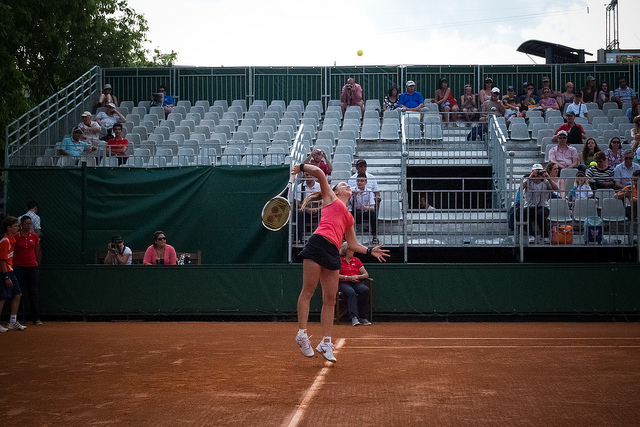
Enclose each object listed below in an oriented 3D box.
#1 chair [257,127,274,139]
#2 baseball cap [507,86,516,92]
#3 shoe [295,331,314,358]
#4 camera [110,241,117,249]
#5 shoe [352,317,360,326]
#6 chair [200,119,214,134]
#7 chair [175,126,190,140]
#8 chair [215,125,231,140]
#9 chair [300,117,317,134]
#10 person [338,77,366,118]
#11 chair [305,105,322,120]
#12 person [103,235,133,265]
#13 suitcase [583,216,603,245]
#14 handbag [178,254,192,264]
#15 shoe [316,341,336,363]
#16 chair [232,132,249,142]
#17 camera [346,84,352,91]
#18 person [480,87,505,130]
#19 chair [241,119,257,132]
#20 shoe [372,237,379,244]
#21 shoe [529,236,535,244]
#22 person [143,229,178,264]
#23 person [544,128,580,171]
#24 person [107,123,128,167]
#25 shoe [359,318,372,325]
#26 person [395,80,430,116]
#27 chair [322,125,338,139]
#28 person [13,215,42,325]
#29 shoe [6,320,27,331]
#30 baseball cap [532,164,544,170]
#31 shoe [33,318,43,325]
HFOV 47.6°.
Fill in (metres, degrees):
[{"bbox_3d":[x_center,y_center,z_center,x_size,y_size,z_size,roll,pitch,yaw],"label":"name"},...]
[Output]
[{"bbox_3d":[-1.717,-2.502,22.777,0.525,0.359,0.393,2,15,7],"label":"chair"},{"bbox_3d":[6.629,-4.369,25.067,0.316,0.084,0.324,0,-9,43],"label":"baseball cap"},{"bbox_3d":[-0.238,2.255,12.339,0.183,0.504,0.202,-17,-22,-32],"label":"shoe"},{"bbox_3d":[-5.111,0.771,17.868,0.182,0.193,0.051,2,7,26],"label":"camera"},{"bbox_3d":[0.819,2.485,16.656,0.189,0.172,0.172,-1,6,-11],"label":"shoe"},{"bbox_3d":[-3.695,-2.826,23.596,0.570,0.426,0.420,0,-7,-1],"label":"chair"},{"bbox_3d":[-4.355,-2.599,22.831,0.479,0.469,0.422,0,-1,5],"label":"chair"},{"bbox_3d":[-3.053,-2.536,22.849,0.521,0.507,0.471,1,-7,0],"label":"chair"},{"bbox_3d":[-0.379,-2.814,22.934,0.483,0.310,0.486,1,0,2],"label":"chair"},{"bbox_3d":[1.059,-3.789,23.917,0.835,1.283,0.800,1,11,18],"label":"person"},{"bbox_3d":[-0.232,-3.539,24.305,0.662,0.466,0.526,0,-3,-2],"label":"chair"},{"bbox_3d":[-5.077,0.935,18.021,0.548,0.778,0.859,2,-1,22],"label":"person"},{"bbox_3d":[6.656,0.421,17.618,0.469,0.669,0.377,0,-6,11],"label":"suitcase"},{"bbox_3d":[-3.387,1.129,18.075,0.233,0.226,0.053,4,-6,-8],"label":"handbag"},{"bbox_3d":[0.090,2.321,12.125,0.334,0.287,0.186,1,6,14],"label":"shoe"},{"bbox_3d":[-2.458,-2.375,22.141,0.380,0.349,0.370,6,-14,5],"label":"chair"},{"bbox_3d":[0.922,-4.105,23.575,0.210,0.153,0.081,4,7,40],"label":"camera"},{"bbox_3d":[5.417,-3.297,22.767,0.908,1.411,0.838,4,2,38],"label":"person"},{"bbox_3d":[-2.300,-2.906,23.395,0.487,0.474,0.446,0,-6,4],"label":"chair"},{"bbox_3d":[1.389,0.671,17.779,0.162,0.119,0.215,8,2,9],"label":"shoe"},{"bbox_3d":[5.167,0.636,17.705,0.122,0.161,0.053,0,-8,8],"label":"shoe"},{"bbox_3d":[-3.946,0.844,17.822,0.689,0.961,0.852,0,-18,-14],"label":"person"},{"bbox_3d":[6.463,-1.674,19.338,1.068,1.211,1.085,-3,4,18],"label":"person"},{"bbox_3d":[-5.770,-1.988,20.547,0.568,1.179,1.377,-2,6,-16],"label":"person"},{"bbox_3d":[1.040,2.511,16.820,0.290,0.140,0.178,-1,6,-10],"label":"shoe"},{"bbox_3d":[2.894,-3.680,23.108,1.072,1.222,0.704,-1,8,9],"label":"person"},{"bbox_3d":[0.302,-2.544,22.468,0.450,0.445,0.388,3,11,12],"label":"chair"},{"bbox_3d":[-6.815,1.338,16.746,0.551,2.585,0.324,-3,7,-26],"label":"person"},{"bbox_3d":[-6.874,2.523,16.275,0.463,0.211,0.171,4,-2,-6],"label":"shoe"},{"bbox_3d":[5.650,-1.224,18.825,0.284,0.142,0.404,1,-11,4],"label":"baseball cap"},{"bbox_3d":[-6.679,2.539,17.095,0.187,0.166,0.261,-4,6,-31],"label":"shoe"}]
